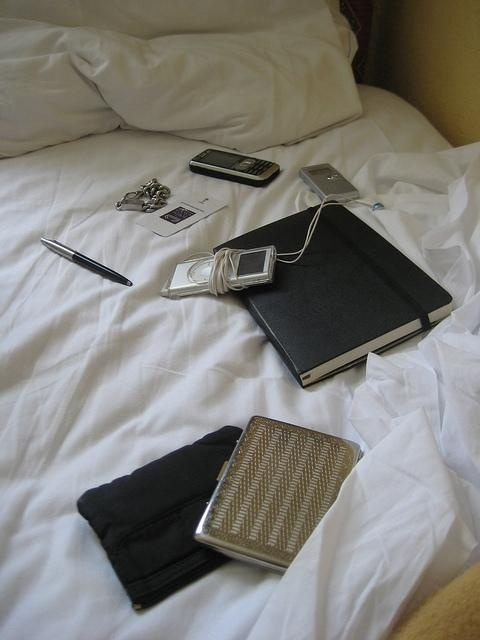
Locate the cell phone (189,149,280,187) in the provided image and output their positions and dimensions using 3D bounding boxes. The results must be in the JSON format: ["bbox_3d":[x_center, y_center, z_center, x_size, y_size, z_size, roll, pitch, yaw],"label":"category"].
[{"bbox_3d":[-0.009,-0.302,1.049,0.170,0.037,0.080,13,37,18],"label":"cell phone"}]

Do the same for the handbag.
[{"bbox_3d":[-0.060,0.166,0.577,0.178,0.221,0.048,-23,74,-3],"label":"handbag"}]
